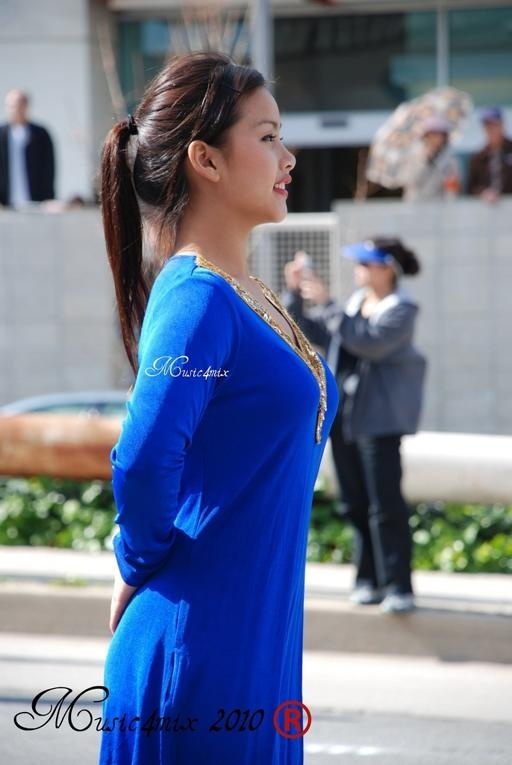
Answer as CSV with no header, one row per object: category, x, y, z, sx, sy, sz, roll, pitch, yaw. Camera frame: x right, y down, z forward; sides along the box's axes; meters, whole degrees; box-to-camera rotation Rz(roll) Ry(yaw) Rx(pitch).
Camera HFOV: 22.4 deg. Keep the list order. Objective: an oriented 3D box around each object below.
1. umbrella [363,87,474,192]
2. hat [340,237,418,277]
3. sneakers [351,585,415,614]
umbrella,0.353,-0.525,3.080,0.293,0.200,0.097,9,40,47
hat,0.338,-0.353,3.525,0.171,0.049,0.095,20,5,37
sneakers,0.326,0.563,3.325,0.170,0.057,0.041,4,10,28
